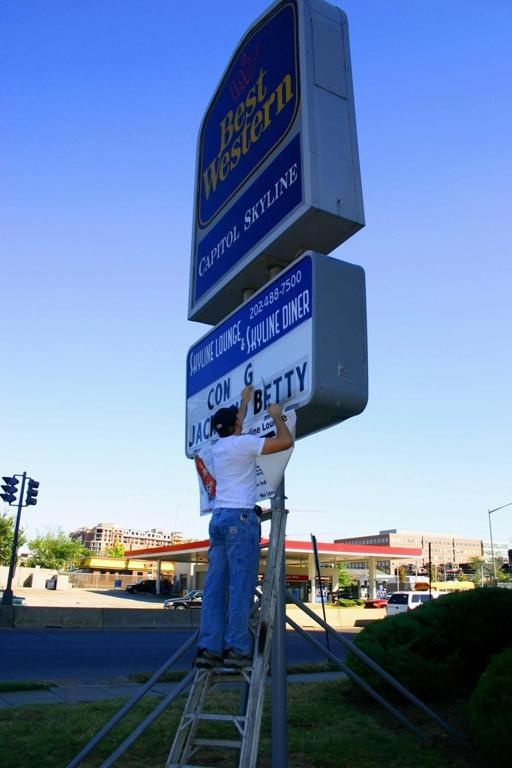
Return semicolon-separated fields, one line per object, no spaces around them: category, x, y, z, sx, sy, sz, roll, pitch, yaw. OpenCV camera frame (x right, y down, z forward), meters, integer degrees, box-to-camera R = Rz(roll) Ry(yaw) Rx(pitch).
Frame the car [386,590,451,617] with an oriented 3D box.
car;9.285;13.194;31.554;4.213;1.203;2.226;13;-19;-41

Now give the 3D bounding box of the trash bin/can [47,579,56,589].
trash bin/can;-22.425;21.703;56.828;0.557;1.154;3.945;8;-16;-27

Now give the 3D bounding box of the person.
person;-0.122;0.849;3.062;0.429;1.467;0.621;12;-18;-39

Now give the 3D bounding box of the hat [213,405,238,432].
hat;-0.194;0.252;3.615;0.125;0.208;0.104;-9;-45;36
